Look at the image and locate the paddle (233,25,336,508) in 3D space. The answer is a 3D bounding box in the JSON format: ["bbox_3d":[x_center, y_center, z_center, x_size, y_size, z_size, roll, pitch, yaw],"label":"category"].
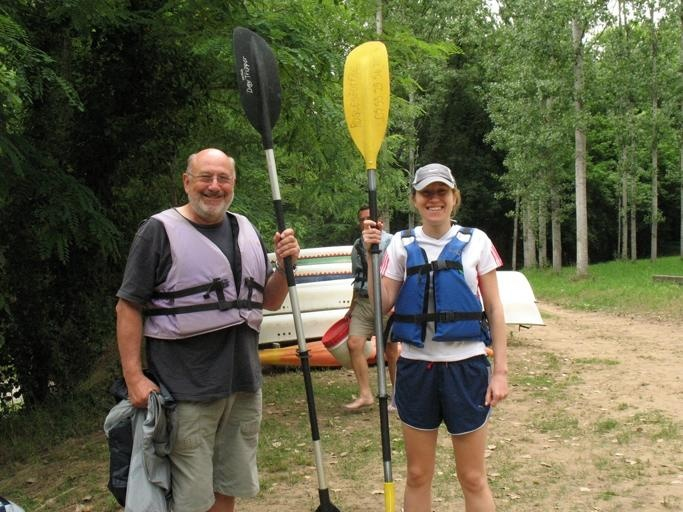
[{"bbox_3d":[-0.400,0.269,5.742,0.652,4.573,0.426,-7,-6,-11],"label":"paddle"}]
